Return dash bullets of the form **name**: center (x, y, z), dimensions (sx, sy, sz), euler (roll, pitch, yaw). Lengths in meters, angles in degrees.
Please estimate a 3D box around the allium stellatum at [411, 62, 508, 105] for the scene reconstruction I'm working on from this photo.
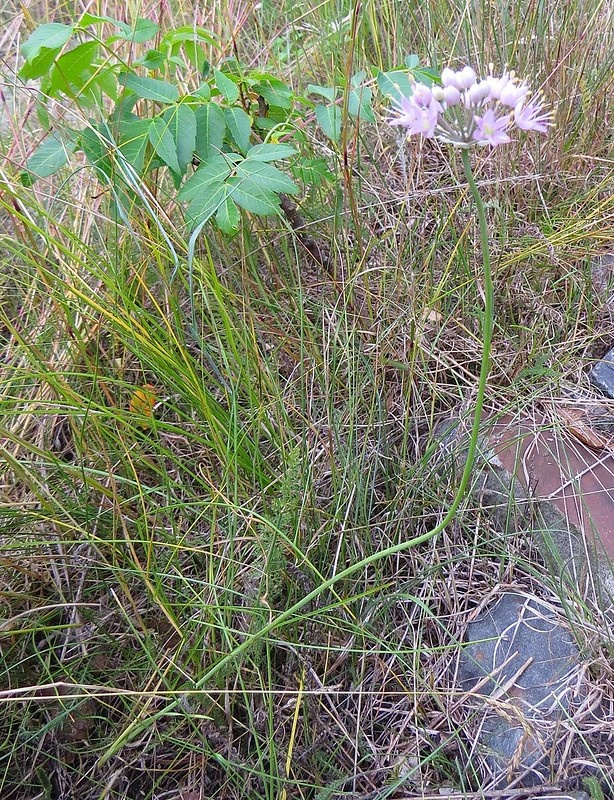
- **allium stellatum**: center (0.243, -0.507, 1.081), dimensions (0.120, 0.043, 0.093), euler (-6, 13, 36)
